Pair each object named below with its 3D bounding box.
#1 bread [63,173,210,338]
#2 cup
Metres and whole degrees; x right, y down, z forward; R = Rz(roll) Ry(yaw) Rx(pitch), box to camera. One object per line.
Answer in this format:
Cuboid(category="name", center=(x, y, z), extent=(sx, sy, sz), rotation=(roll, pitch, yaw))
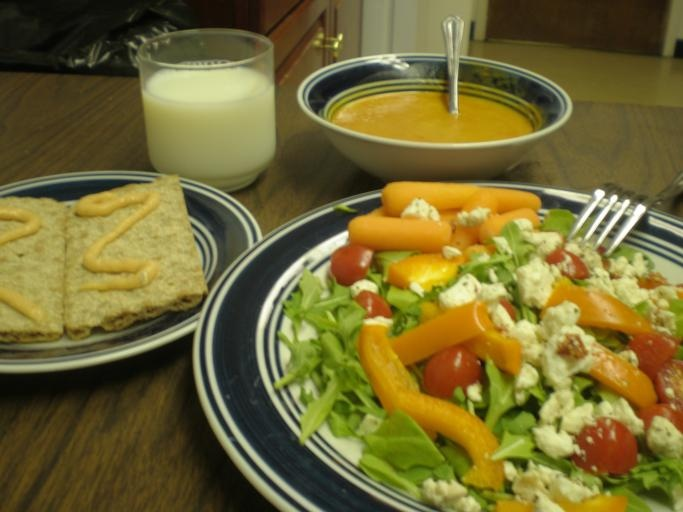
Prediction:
Cuboid(category="bread", center=(-0.475, -0.031, 1.232), extent=(0.315, 0.117, 0.416), rotation=(-6, 53, -17))
Cuboid(category="cup", center=(-0.321, -0.410, 1.572), extent=(0.374, 0.430, 0.393), rotation=(1, 31, -1))
